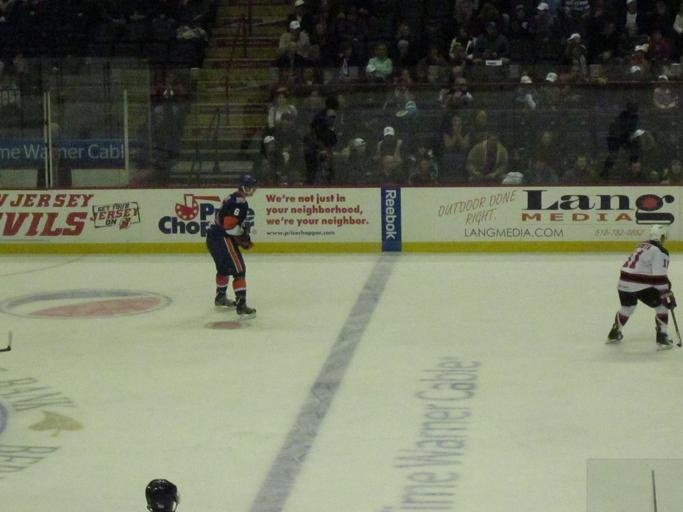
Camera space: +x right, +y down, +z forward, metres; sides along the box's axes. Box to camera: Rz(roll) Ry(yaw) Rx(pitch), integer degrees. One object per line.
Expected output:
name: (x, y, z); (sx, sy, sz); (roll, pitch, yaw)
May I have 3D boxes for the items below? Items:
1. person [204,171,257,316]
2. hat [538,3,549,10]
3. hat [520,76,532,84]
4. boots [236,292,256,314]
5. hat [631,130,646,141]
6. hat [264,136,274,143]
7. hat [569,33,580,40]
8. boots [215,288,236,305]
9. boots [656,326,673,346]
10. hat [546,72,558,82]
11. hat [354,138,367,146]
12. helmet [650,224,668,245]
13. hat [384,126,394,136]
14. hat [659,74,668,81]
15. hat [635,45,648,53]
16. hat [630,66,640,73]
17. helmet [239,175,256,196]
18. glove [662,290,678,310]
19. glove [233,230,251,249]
person: (-1.470, -0.175, 13.916); (0.633, 1.823, 1.044); (-3, 7, -19)
hat: (3.957, -4.908, 20.017); (0.226, 0.117, 0.170); (5, 28, 8)
hat: (3.193, -3.040, 17.606); (0.219, 0.092, 0.283); (1, 20, 5)
boots: (-1.280, 0.641, 13.569); (0.243, 0.299, 0.188); (-2, 7, -7)
hat: (5.035, -2.064, 17.317); (0.218, 0.132, 0.051); (-36, -7, -3)
hat: (-1.257, -2.034, 17.701); (0.204, 0.128, 0.047); (3, 8, 33)
hat: (4.415, -4.156, 19.317); (0.185, 0.094, 0.266); (-3, 11, -2)
boots: (-1.652, 0.561, 14.223); (0.357, 0.315, 0.159); (-2, 13, -9)
boots: (3.785, 0.955, 11.947); (0.109, 0.129, 0.319); (-2, 5, 21)
hat: (3.710, -3.181, 17.991); (0.219, 0.165, 0.321); (6, 17, 20)
hat: (0.313, -1.967, 17.520); (0.196, 0.127, 0.043); (-1, 7, 0)
helmet: (3.726, -0.263, 12.100); (0.242, 0.227, 0.177); (-6, 15, -36)
hat: (0.812, -2.142, 17.400); (0.195, 0.160, 0.040); (-1, 7, 1)
hat: (5.690, -3.158, 18.024); (0.173, 0.085, 0.174); (6, 12, 31)
hat: (5.589, -3.881, 19.016); (0.294, 0.144, 0.193); (-15, 21, -41)
hat: (5.242, -3.328, 18.206); (0.123, 0.093, 0.163); (-1, -13, -6)
helmet: (-1.247, -0.998, 14.041); (0.214, 0.291, 0.294); (8, 22, 6)
glove: (3.836, 0.494, 11.900); (0.096, 0.234, 0.177); (-27, 6, -41)
glove: (-1.362, -0.236, 14.064); (0.191, 0.254, 0.092); (-28, 14, 2)
